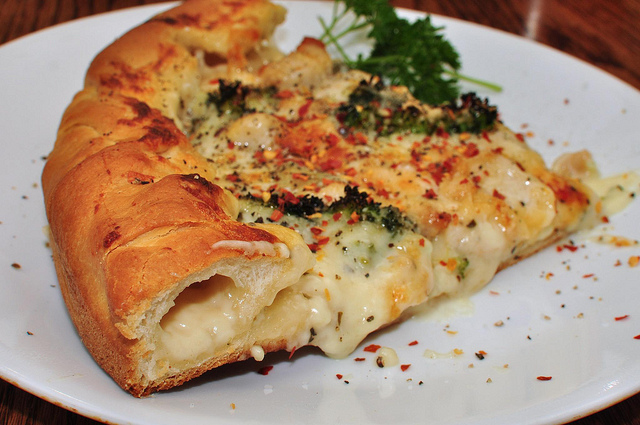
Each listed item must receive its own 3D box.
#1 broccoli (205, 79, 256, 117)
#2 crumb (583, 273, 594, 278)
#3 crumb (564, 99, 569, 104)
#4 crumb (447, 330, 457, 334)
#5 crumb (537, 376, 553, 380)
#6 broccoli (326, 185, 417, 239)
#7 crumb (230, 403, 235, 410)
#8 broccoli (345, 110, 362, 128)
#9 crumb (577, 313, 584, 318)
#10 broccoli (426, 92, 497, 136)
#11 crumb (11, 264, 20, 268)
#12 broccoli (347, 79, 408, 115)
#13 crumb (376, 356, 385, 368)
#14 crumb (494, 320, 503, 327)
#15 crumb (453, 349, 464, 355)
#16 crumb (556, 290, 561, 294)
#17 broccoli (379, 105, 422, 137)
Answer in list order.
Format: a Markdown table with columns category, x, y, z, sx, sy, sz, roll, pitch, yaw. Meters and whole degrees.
| category | x | y | z | sx | sy | sz | roll | pitch | yaw |
| --- | --- | --- | --- | --- | --- | --- | --- | --- | --- |
| broccoli | -0.564 | -0.699 | 4.426 | 0.246 | 0.096 | 0.263 | 27 | 67 | -20 |
| crumb | 1.532 | 0.357 | 4.036 | 0.072 | 0.017 | 0.020 | -9 | 95 | -35 |
| crumb | 1.643 | -0.742 | 4.703 | 0.027 | 0.007 | 0.029 | 0 | 66 | 23 |
| crumb | 0.729 | 0.662 | 3.907 | 0.069 | 0.017 | 0.019 | 5 | 68 | 2 |
| crumb | 1.136 | 0.840 | 3.578 | 0.045 | 0.012 | 0.024 | -7 | 25 | 5 |
| broccoli | 0.291 | 0.001 | 3.929 | 0.385 | 0.103 | 0.271 | 7 | 52 | -13 |
| crumb | -0.433 | 0.951 | 3.461 | 0.021 | 0.028 | 0.035 | -14 | 74 | -1 |
| broccoli | 0.205 | -0.588 | 4.423 | 0.094 | 0.035 | 0.101 | 12 | 76 | 6 |
| crumb | 1.422 | 0.562 | 3.851 | 0.022 | 0.007 | 0.023 | -8 | 35 | 3 |
| broccoli | 0.900 | -0.579 | 4.372 | 0.312 | 0.097 | 0.262 | 3 | 87 | -5 |
| crumb | -1.663 | 0.290 | 3.847 | 0.030 | 0.011 | 0.016 | 24 | 45 | -21 |
| broccoli | 0.364 | -0.733 | 4.466 | 0.249 | 0.078 | 0.258 | 15 | 37 | 7 |
| crumb | 0.317 | 0.795 | 3.746 | 0.041 | 0.027 | 0.057 | -2 | 75 | 3 |
| crumb | 0.991 | 0.617 | 3.935 | 0.027 | 0.008 | 0.027 | -30 | 30 | -18 |
| crumb | 0.744 | 0.750 | 3.808 | 0.025 | 0.008 | 0.026 | -16 | 33 | -5 |
| crumb | 1.355 | 0.449 | 4.013 | 0.017 | 0.005 | 0.017 | 13 | 46 | 30 |
| broccoli | 0.494 | -0.571 | 4.377 | 0.276 | 0.051 | 0.135 | -17 | 75 | -2 |
